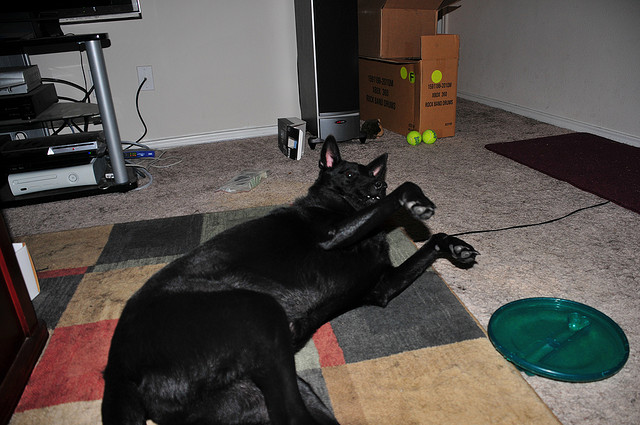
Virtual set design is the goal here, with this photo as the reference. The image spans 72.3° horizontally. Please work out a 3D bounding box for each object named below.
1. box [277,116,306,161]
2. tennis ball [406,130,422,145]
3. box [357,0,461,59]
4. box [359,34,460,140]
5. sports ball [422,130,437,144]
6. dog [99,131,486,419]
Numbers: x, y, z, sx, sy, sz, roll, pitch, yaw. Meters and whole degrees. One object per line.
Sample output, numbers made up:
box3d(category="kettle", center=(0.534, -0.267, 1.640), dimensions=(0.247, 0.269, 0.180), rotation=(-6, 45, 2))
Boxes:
box3d(category="box", center=(-0.231, -0.582, 3.453), dimensions=(0.169, 0.274, 0.296), rotation=(-5, 25, -19))
box3d(category="tennis ball", center=(0.751, -0.614, 3.532), dimensions=(0.089, 0.106, 0.147), rotation=(20, 40, 34))
box3d(category="box", center=(0.746, -1.512, 3.928), dimensions=(0.661, 0.477, 0.700), rotation=(-7, 23, -15))
box3d(category="box", center=(0.699, -1.194, 3.951), dimensions=(0.436, 0.791, 1.130), rotation=(-13, 25, -21))
box3d(category="sports ball", center=(0.864, -0.618, 3.561), dimensions=(0.104, 0.104, 0.104), rotation=(-18, 49, 22))
box3d(category="dog", center=(-0.137, 0.257, 1.447), dimensions=(0.606, 0.665, 1.190), rotation=(25, 43, 39))
